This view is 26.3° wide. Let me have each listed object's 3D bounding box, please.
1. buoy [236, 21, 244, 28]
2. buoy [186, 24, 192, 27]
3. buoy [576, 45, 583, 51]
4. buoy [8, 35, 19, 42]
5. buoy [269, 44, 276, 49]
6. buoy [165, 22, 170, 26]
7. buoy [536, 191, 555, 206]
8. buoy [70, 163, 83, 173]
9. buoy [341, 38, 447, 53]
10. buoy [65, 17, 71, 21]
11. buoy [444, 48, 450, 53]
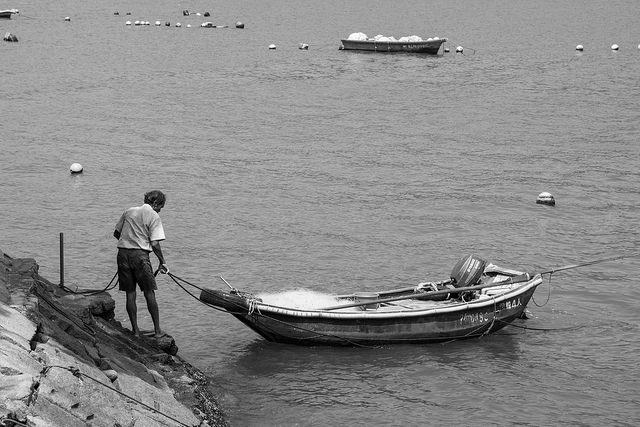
[{"bbox_3d":[-6.881,-16.562,119.543,0.892,0.307,0.950,-1,14,-4],"label":"buoy"},{"bbox_3d":[-11.319,-16.544,119.887,0.452,0.138,0.388,2,14,10],"label":"buoy"},{"bbox_3d":[20.505,-13.168,108.307,0.545,0.307,0.464,3,18,6],"label":"buoy"},{"bbox_3d":[-22.839,-13.207,102.745,1.008,0.369,1.185,0,10,-18],"label":"buoy"},{"bbox_3d":[-3.567,-12.847,105.131,0.497,0.275,0.442,-12,12,22],"label":"buoy"},{"bbox_3d":[-13.112,-16.541,118.990,0.417,0.309,0.354,3,22,8],"label":"buoy"},{"bbox_3d":[11.599,-0.745,70.528,0.928,0.536,0.629,1,22,6],"label":"buoy"},{"bbox_3d":[-12.853,-2.459,72.774,0.616,0.498,0.428,-19,43,-15],"label":"buoy"},{"bbox_3d":[5.626,-12.641,103.041,7.135,1.118,0.604,1,25,6],"label":"buoy"},{"bbox_3d":[-21.959,-17.207,120.549,0.557,0.190,0.670,1,8,-6],"label":"buoy"},{"bbox_3d":[9.965,-12.828,107.007,0.460,0.288,0.317,1,-18,2],"label":"buoy"}]
